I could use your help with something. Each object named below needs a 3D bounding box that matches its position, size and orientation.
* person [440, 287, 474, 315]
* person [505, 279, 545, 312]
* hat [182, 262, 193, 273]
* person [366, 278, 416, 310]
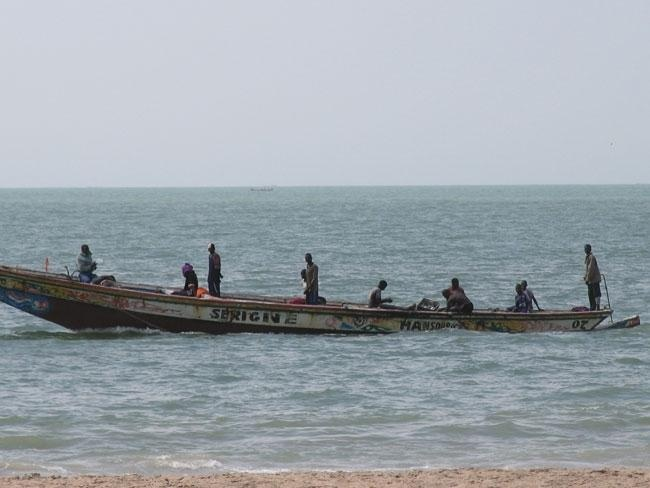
[{"bbox_3d":[4.195,1.708,44.348,0.774,0.707,0.950,-24,39,-18],"label":"person"},{"bbox_3d":[7.175,1.882,50.021,1.106,0.884,0.610,-4,25,6],"label":"person"},{"bbox_3d":[-4.357,0.762,44.195,0.395,0.357,0.504,-6,0,-6],"label":"hat"},{"bbox_3d":[2.152,1.689,44.497,1.585,0.912,0.814,10,-3,-10],"label":"person"}]
